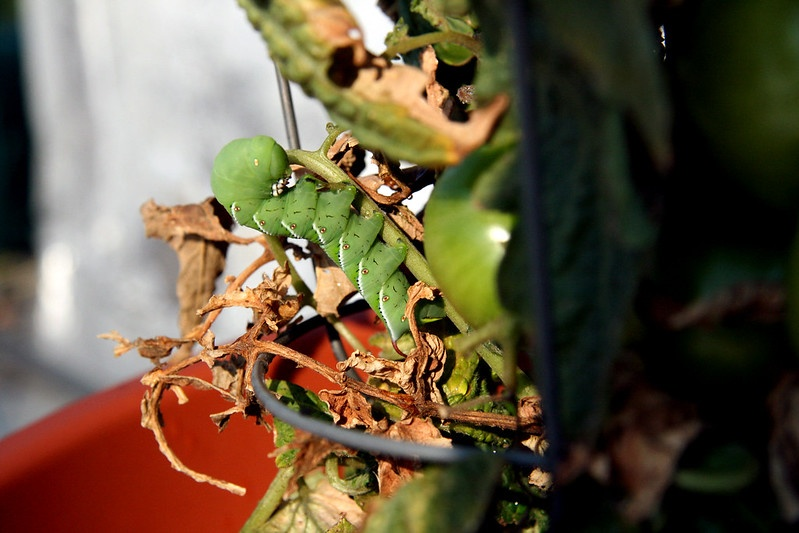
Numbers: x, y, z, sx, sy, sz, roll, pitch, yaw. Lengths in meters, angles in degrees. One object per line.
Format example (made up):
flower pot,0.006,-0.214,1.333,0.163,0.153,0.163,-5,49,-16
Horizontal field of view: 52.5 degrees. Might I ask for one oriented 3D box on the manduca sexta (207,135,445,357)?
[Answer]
manduca sexta,-0.070,-0.023,0.889,0.117,0.337,0.099,-42,46,30
